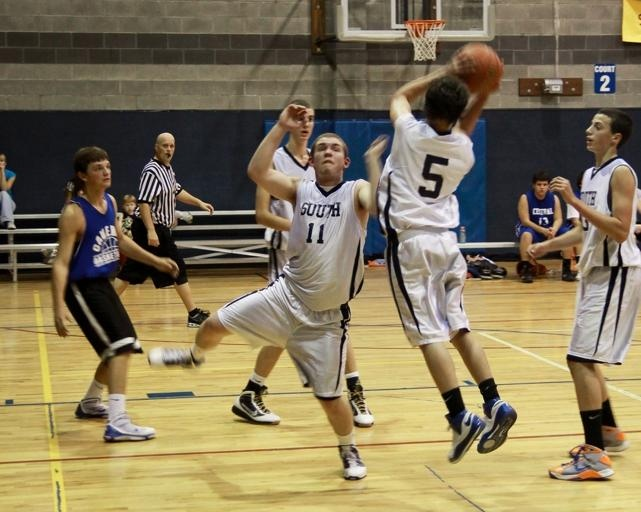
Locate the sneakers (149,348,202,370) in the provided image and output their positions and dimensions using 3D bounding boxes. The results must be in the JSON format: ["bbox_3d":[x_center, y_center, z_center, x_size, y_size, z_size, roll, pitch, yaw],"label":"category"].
[{"bbox_3d":[-0.840,0.592,4.563,0.266,0.094,0.123,5,-11,-12],"label":"sneakers"}]

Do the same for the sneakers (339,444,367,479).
[{"bbox_3d":[0.188,1.149,4.493,0.100,0.103,0.247,-4,8,-5],"label":"sneakers"}]

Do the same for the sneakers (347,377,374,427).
[{"bbox_3d":[0.240,0.981,5.329,0.116,0.148,0.346,-7,46,-8],"label":"sneakers"}]

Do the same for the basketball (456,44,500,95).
[{"bbox_3d":[0.891,-1.046,4.469,0.286,0.293,0.208,-2,8,-14],"label":"basketball"}]
